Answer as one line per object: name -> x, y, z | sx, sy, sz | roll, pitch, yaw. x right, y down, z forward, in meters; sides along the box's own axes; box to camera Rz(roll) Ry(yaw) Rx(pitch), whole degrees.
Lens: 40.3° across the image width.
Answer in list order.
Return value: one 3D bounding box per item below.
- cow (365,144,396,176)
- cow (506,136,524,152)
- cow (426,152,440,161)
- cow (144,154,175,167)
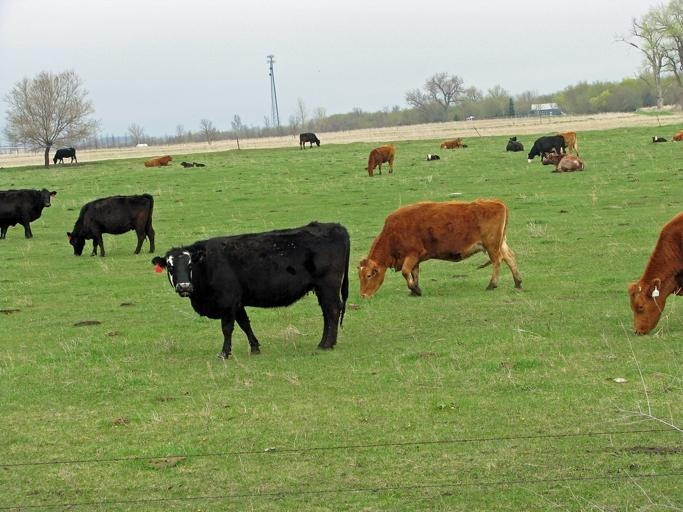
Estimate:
cow -> 1.733, -4.173, 41.097 | 0.679, 1.192, 2.409 | -1, 14, 33
cow -> 9.128, -5.738, 48.451 | 0.556, 0.802, 1.665 | 0, -2, 19
cow -> 4.503, -4.794, 45.017 | 0.321, 0.424, 0.875 | -3, 13, -23
cow -> -10.761, -5.477, 54.697 | 0.879, 0.545, 2.814 | -2, 14, 9
